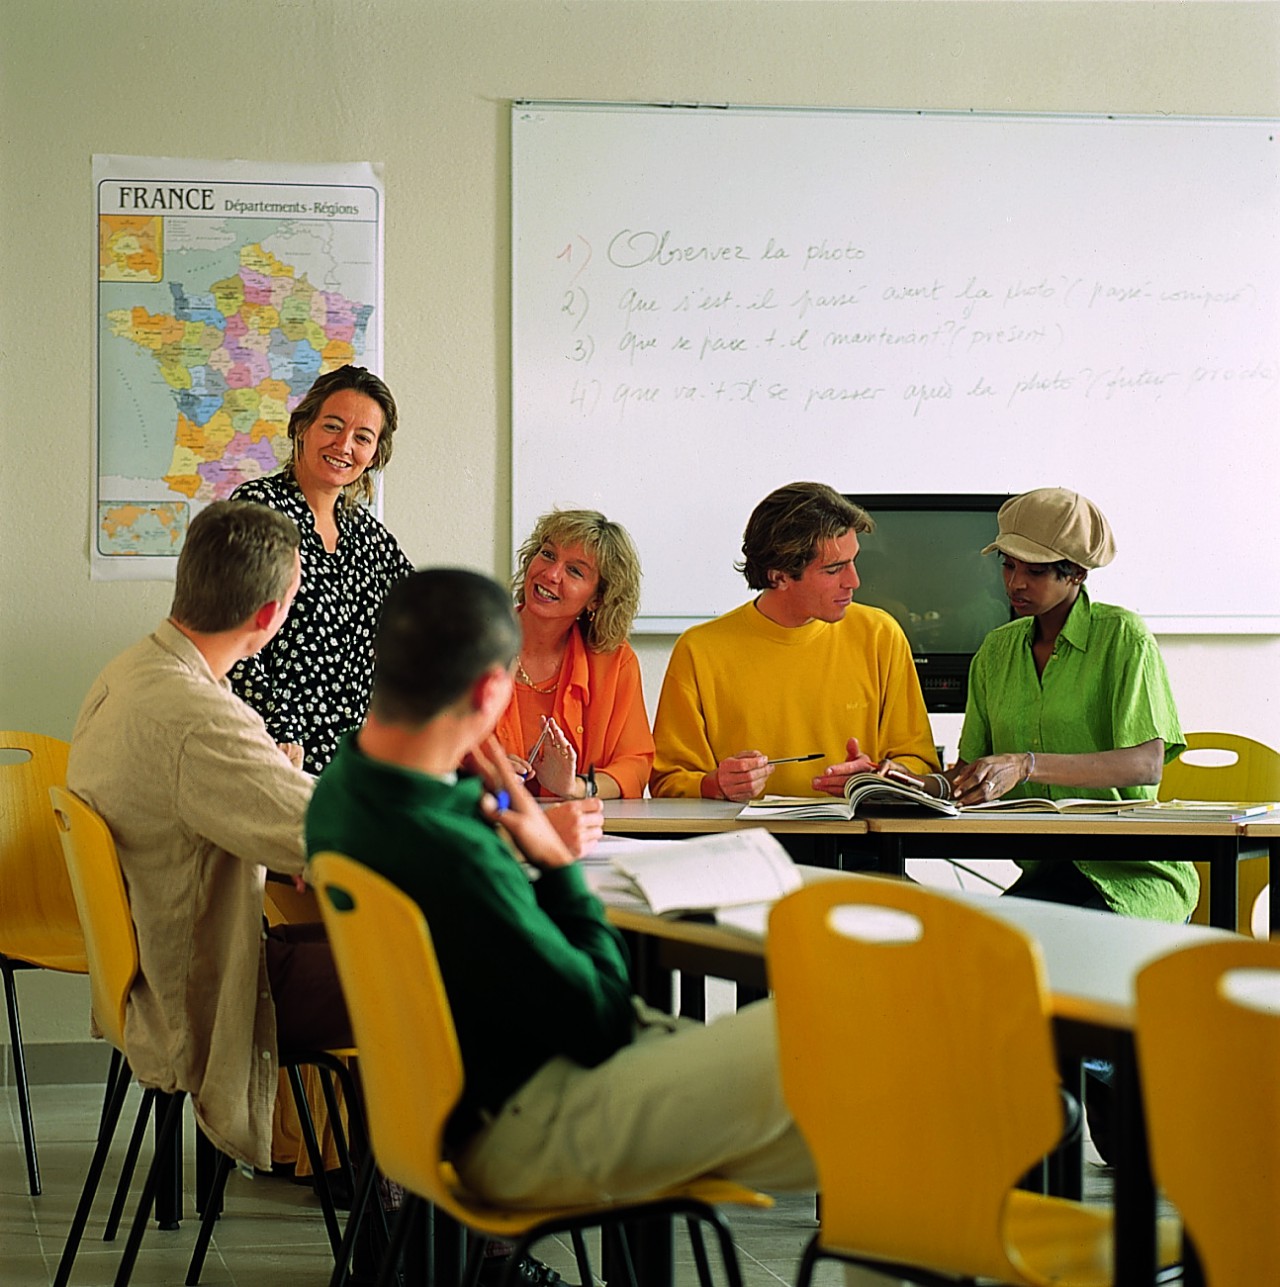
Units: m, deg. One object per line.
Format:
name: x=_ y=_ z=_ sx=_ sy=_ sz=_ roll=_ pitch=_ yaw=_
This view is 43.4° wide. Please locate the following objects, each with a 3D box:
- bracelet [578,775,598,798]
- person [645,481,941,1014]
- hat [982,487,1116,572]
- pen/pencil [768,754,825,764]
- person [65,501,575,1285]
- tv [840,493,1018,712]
bracelet: x=-0.099 y=0.273 z=3.077 sx=0.036 sy=0.019 sz=0.047 roll=1 pitch=-1 yaw=-5
person: x=0.299 y=0.145 z=3.244 sx=0.558 sy=0.898 sz=0.464 roll=2 pitch=10 yaw=0
hat: x=0.812 y=-0.237 z=3.160 sx=0.203 sy=0.147 sz=0.277 roll=15 pitch=15 yaw=41
pen/pencil: x=0.311 y=0.224 z=3.148 sx=0.148 sy=0.029 sz=0.022 roll=1 pitch=-2 yaw=-15
person: x=-0.422 y=0.227 z=2.504 sx=0.817 sy=1.470 sz=0.552 roll=-7 pitch=16 yaw=-30
tv: x=0.745 y=-0.115 z=3.916 sx=0.425 sy=0.448 sz=0.251 roll=0 pitch=-3 yaw=32
